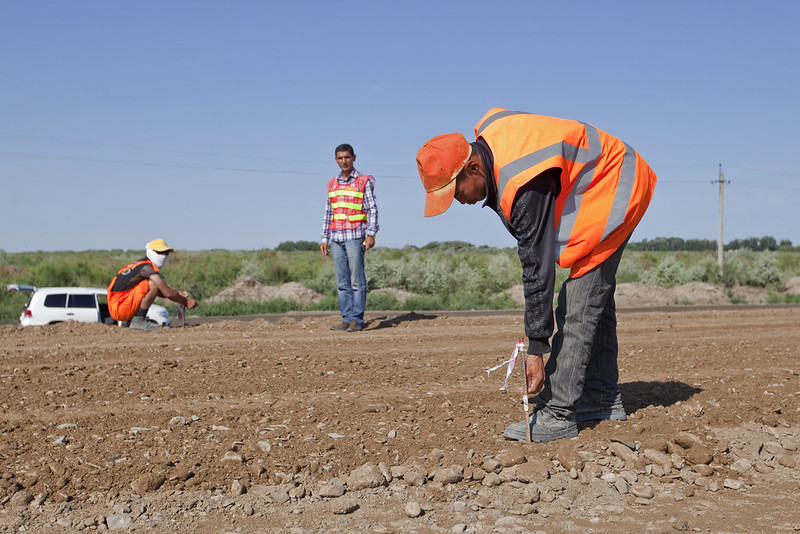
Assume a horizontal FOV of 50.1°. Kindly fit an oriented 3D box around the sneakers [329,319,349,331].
[{"bbox_3d":[-0.881,0.861,12.704,0.225,0.107,0.124,4,-4,-26],"label":"sneakers"}]

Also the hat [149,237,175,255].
[{"bbox_3d":[-3.288,-0.272,11.650,0.423,0.245,0.346,1,-2,33],"label":"hat"}]

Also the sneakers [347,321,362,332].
[{"bbox_3d":[-0.662,0.868,12.640,0.094,0.107,0.271,0,-7,30],"label":"sneakers"}]

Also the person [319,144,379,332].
[{"bbox_3d":[-0.750,-0.448,12.736,0.585,2.711,0.856,-3,5,-41],"label":"person"}]

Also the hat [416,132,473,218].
[{"bbox_3d":[0.382,-0.786,7.232,0.452,0.683,0.195,0,4,2],"label":"hat"}]

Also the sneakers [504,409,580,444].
[{"bbox_3d":[1.259,1.388,7.625,0.595,0.295,0.288,-1,-6,-6],"label":"sneakers"}]

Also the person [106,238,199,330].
[{"bbox_3d":[-3.602,0.251,12.636,1.436,1.352,0.976,3,5,35],"label":"person"}]
